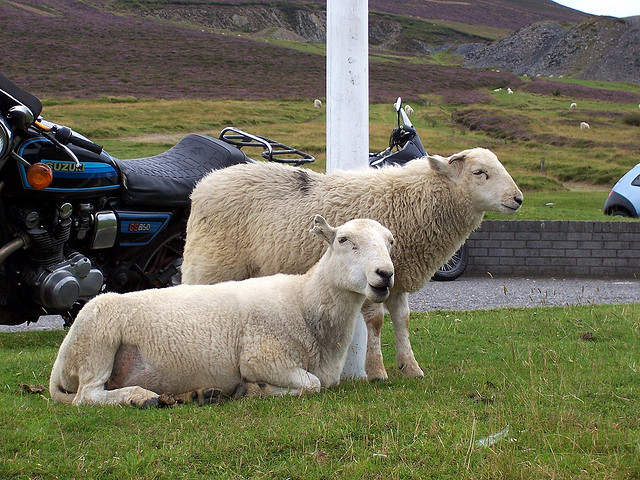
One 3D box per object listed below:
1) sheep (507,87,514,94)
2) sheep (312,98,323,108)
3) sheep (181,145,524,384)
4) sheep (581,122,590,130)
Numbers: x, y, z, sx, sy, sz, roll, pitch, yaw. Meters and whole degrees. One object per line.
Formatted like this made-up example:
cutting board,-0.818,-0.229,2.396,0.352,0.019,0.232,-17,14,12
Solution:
sheep,12.023,-9.233,58.340,0.353,0.477,0.884,-3,24,16
sheep,-0.123,-6.456,44.256,0.334,0.491,0.981,-2,18,13
sheep,0.270,0.239,10.265,3.993,2.374,1.417,1,8,24
sheep,12.113,-5.112,42.164,0.269,0.368,0.739,2,13,20
